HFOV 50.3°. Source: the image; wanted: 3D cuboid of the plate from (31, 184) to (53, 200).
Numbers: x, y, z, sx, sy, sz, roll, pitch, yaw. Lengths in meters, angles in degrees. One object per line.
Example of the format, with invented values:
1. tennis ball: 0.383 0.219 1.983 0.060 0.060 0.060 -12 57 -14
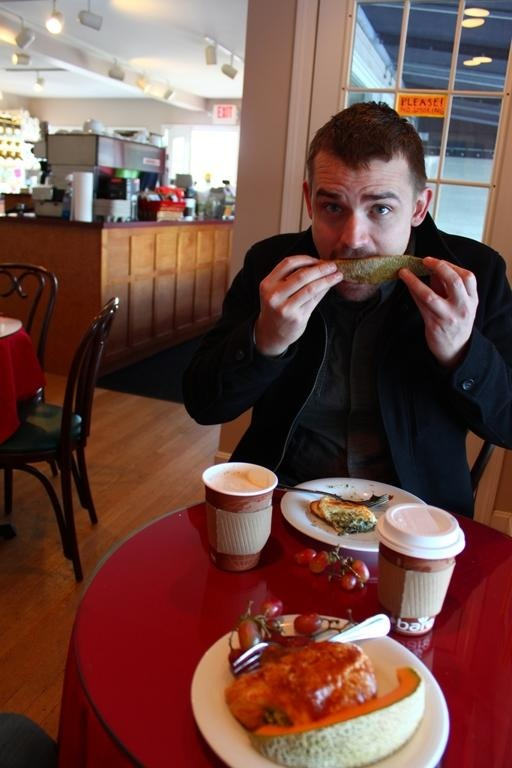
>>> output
1. plate: -1.691 -1.545 4.346 0.139 0.086 0.141 3 31 -4

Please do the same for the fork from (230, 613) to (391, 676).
1. fork: 0.048 0.233 0.484 0.175 0.024 0.029 -9 43 -13

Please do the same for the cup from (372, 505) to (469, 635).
1. cup: 0.177 0.214 0.619 0.087 0.155 0.120 6 10 13

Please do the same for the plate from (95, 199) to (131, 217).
1. plate: -1.132 -1.379 4.275 0.158 0.138 0.467 8 10 14

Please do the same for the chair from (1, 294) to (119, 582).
1. chair: -0.732 0.159 2.123 0.507 1.095 0.560 19 21 30

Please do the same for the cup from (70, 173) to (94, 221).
1. cup: -1.321 -1.404 4.121 0.140 0.355 0.221 0 10 -22

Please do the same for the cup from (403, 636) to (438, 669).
1. cup: 0.184 0.298 0.609 0.032 0.032 0.029 4 -19 1

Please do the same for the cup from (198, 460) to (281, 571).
1. cup: -0.023 0.183 0.746 0.102 0.115 0.104 4 9 -1

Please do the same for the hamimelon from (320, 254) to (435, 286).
1. hamimelon: 0.226 -0.207 0.985 0.162 0.054 0.069 7 10 15
